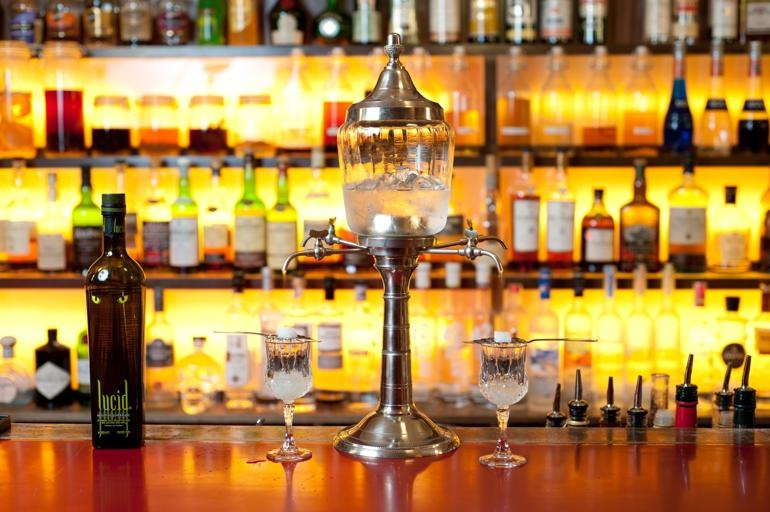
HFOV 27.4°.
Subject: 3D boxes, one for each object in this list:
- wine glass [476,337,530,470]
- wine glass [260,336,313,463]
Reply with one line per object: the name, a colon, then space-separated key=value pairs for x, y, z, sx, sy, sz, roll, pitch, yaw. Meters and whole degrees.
wine glass: x=0.321 y=0.368 z=4.256 sx=0.134 sy=0.354 sz=0.184 roll=-2 pitch=3 yaw=3
wine glass: x=-0.260 y=0.362 z=4.278 sx=0.130 sy=0.343 sz=0.165 roll=-2 pitch=3 yaw=-3
